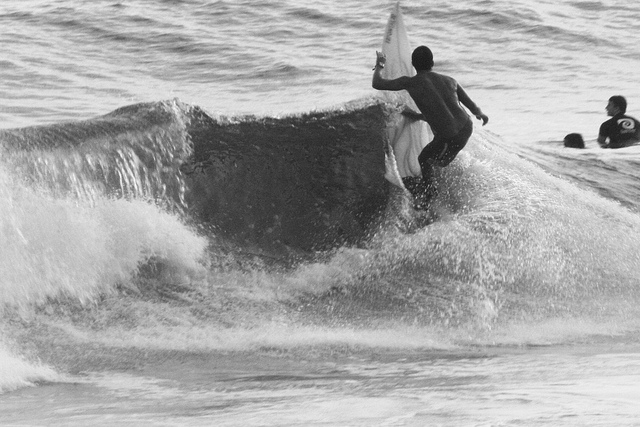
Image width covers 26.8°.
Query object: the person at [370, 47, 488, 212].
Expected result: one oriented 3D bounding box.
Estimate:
[{"bbox_3d":[1.649,-1.257,20.440,1.638,2.503,0.479,11,24,2],"label":"person"}]
